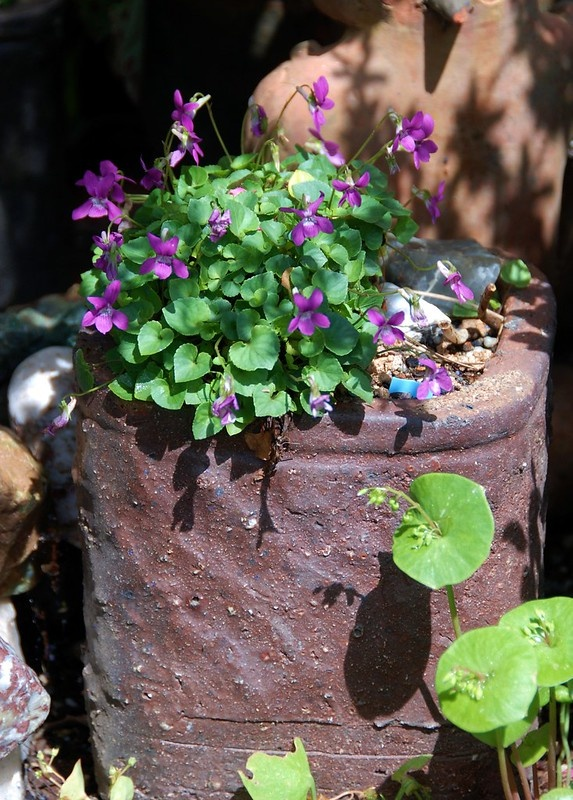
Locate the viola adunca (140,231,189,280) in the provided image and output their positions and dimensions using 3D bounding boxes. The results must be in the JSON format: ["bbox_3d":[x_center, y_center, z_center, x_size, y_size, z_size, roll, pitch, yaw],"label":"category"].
[{"bbox_3d":[-0.219,-0.249,1.554,0.079,0.094,0.086,-8,56,-8],"label":"viola adunca"}]

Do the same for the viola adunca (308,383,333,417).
[{"bbox_3d":[0.063,-0.001,1.528,0.037,0.023,0.058,-46,44,7],"label":"viola adunca"}]

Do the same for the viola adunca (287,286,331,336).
[{"bbox_3d":[0.039,-0.156,1.505,0.065,0.089,0.105,5,55,0],"label":"viola adunca"}]
